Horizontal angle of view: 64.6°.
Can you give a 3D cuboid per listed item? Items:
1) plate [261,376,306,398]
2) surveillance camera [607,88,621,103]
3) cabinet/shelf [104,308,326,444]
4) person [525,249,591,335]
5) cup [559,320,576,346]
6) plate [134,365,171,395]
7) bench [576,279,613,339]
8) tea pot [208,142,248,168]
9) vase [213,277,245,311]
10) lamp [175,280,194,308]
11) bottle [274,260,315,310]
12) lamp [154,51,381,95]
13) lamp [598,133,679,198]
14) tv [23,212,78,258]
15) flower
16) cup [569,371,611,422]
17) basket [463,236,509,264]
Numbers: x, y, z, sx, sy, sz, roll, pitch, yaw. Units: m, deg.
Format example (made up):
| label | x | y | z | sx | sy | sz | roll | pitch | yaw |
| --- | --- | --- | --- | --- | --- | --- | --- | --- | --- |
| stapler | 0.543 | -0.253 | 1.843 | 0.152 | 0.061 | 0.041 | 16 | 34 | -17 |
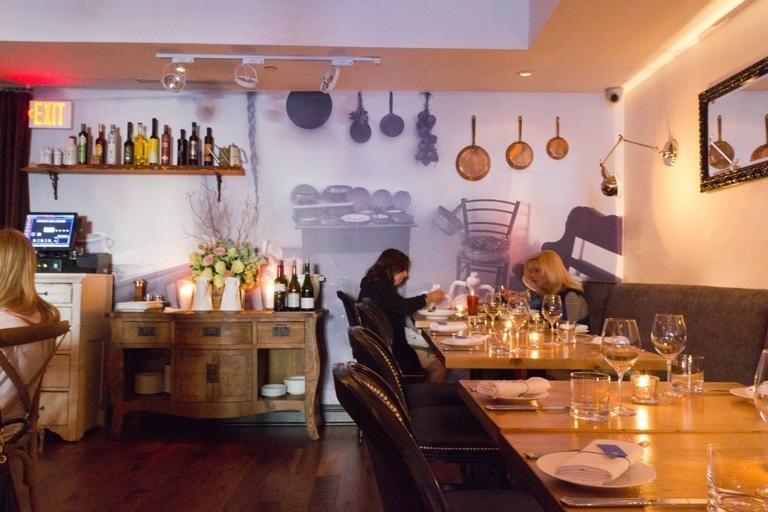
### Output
| label | x | y | z | sx | sy | sz | roll | pitch | yaw |
| --- | --- | --- | --- | --- | --- | --- | --- | --- | --- |
| plate | -0.877 | 1.137 | 5.334 | 0.309 | 0.101 | 0.190 | 4 | -8 | -25 |
| surveillance camera | 2.120 | -1.486 | 5.644 | 0.125 | 0.134 | 0.054 | 2 | 6 | 19 |
| cabinet/shelf | -1.411 | 1.016 | 5.415 | 1.905 | 1.027 | 0.590 | -1 | -4 | 6 |
| person | 1.505 | 0.268 | 5.452 | 0.715 | 0.927 | 0.591 | -2 | -2 | 14 |
| cup | 1.185 | 0.499 | 3.936 | 0.132 | 0.134 | 0.124 | 0 | 4 | 0 |
| plate | -2.047 | 1.117 | 5.479 | 0.352 | 0.215 | 0.252 | 2 | -3 | -6 |
| bench | 1.852 | 0.457 | 5.307 | 0.443 | 0.487 | 0.409 | 0 | -2 | 8 |
| tea pot | -1.442 | -0.925 | 5.595 | 0.364 | 0.228 | 0.256 | 0 | 5 | -8 |
| vase | -1.322 | 0.335 | 5.297 | 0.238 | 0.290 | 0.278 | -1 | -7 | 8 |
| lamp | -1.809 | 0.347 | 5.570 | 0.148 | 0.253 | 0.282 | -2 | 6 | -21 |
| bottle | -0.797 | 0.271 | 5.445 | 0.465 | 0.550 | 0.154 | 0 | -12 | -8 |
| lamp | -0.945 | -1.511 | 5.030 | 1.829 | 0.324 | 0.269 | -1 | 12 | -5 |
| lamp | 2.183 | -0.817 | 5.342 | 0.383 | 0.576 | 0.861 | 0 | 5 | 2 |
| tv | -2.835 | -0.178 | 5.187 | 0.408 | 0.357 | 0.124 | -2 | -18 | -3 |
| flower | -1.391 | 0.074 | 5.463 | 0.627 | 0.437 | 0.277 | -1 | 5 | -17 |
| cup | 0.875 | 0.592 | 2.600 | 0.204 | 0.210 | 0.196 | 0 | -3 | 0 |
| basket | 0.960 | -0.072 | 5.694 | 0.287 | 0.132 | 0.324 | 3 | 9 | 15 |
